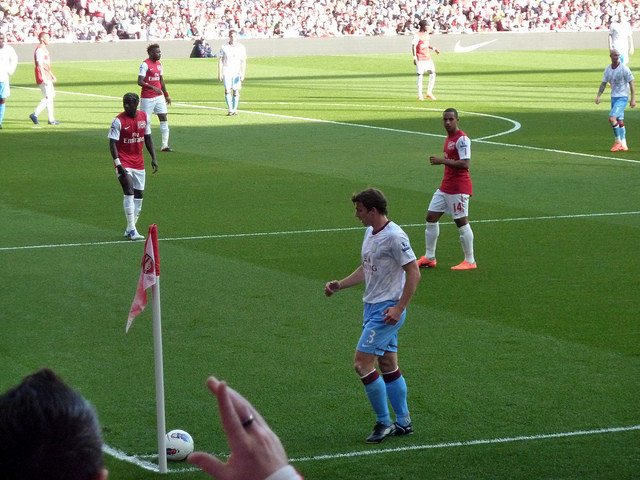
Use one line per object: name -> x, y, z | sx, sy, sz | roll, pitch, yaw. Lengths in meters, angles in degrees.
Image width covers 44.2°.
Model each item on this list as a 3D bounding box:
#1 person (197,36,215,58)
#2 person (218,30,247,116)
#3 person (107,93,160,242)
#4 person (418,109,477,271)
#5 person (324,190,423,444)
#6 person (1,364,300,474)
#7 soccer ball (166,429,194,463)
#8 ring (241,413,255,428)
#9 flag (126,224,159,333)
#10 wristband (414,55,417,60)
person -> -6.794, -11.364, 46.662 | 0.447, 1.159, 0.956 | 3, 8, 24
person -> -2.782, -5.314, 24.989 | 0.797, 2.669, 1.137 | -1, 8, -7
person -> -2.975, -1.159, 12.430 | 0.597, 2.276, 0.958 | -2, 8, -11
person -> 1.819, -0.708, 11.069 | 0.792, 2.219, 0.536 | 1, 8, 9
person -> 0.510, 0.576, 6.773 | 0.688, 2.006, 1.259 | 0, 7, 2
person -> -0.499, 0.504, 2.365 | 0.805, 0.292, 0.396 | 4, -8, -29
soccer ball -> -1.072, 1.567, 6.041 | 0.200, 0.248, 0.208 | 0, 7, 0
ring -> -0.216, 0.544, 2.384 | 0.029, 0.037, 0.038 | 35, -22, -11
flag -> -1.344, 0.268, 5.967 | 0.243, 0.826, 0.553 | -2, 8, -12
wristband -> 3.349, -6.385, 27.553 | 0.043, 0.161, 0.177 | -2, 7, -8
